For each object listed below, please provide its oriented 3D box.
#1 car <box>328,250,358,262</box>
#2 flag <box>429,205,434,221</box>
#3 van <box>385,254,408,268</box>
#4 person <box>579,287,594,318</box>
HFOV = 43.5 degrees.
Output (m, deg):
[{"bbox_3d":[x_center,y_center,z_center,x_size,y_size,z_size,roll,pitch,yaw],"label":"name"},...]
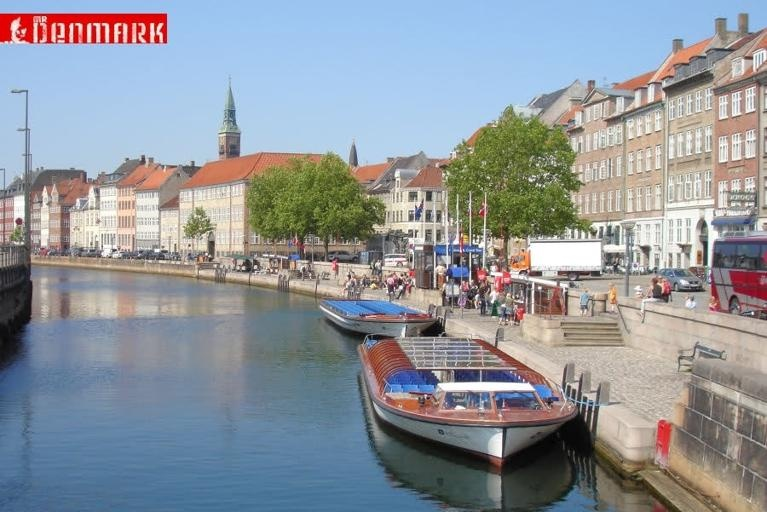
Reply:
[{"bbox_3d":[-4.688,0.169,118.422,3.043,1.191,1.709,-3,2,-12],"label":"car"},{"bbox_3d":[6.620,-5.585,130.200,0.692,1.861,0.805,-1,10,19],"label":"flag"},{"bbox_3d":[1.355,0.502,99.070,1.227,0.857,2.101,-2,6,-37],"label":"van"},{"bbox_3d":[9.924,2.277,46.734,0.618,1.359,1.558,-3,9,11],"label":"person"}]
